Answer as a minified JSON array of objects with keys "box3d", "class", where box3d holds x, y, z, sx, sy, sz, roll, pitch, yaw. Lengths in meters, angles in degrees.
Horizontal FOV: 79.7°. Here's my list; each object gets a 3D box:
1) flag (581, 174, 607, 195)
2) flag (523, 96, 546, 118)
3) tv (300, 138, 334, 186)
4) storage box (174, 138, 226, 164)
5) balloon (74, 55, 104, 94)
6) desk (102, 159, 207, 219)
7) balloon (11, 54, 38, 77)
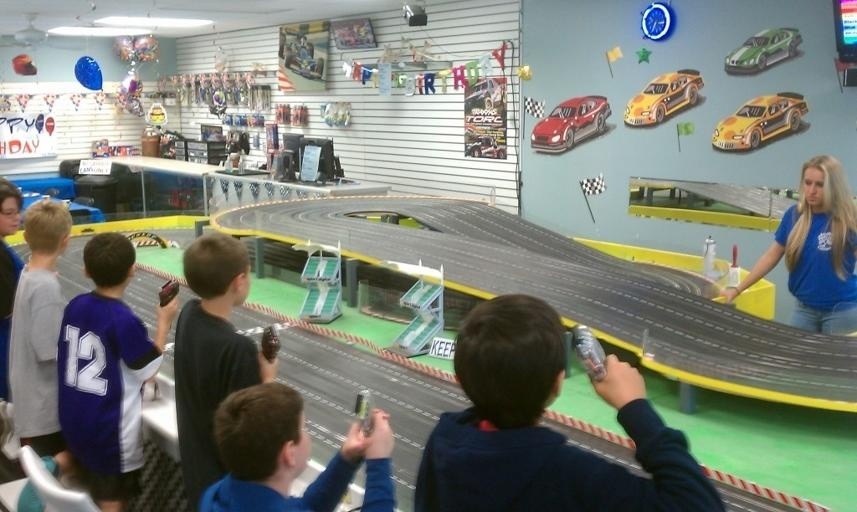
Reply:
[{"box3d":[2.675,-1.163,8.292,0.030,0.263,0.362,-11,13,-42],"class":"flag"},{"box3d":[1.809,-2.560,8.759,0.034,0.330,0.388,-9,19,-42],"class":"flag"},{"box3d":[-2.083,-1.730,9.599,0.842,0.807,0.321,7,21,15],"class":"tv"},{"box3d":[-6.275,-2.858,13.960,1.655,0.600,0.572,9,10,27],"class":"storage box"},{"box3d":[-7.476,-4.056,11.291,0.397,0.651,0.548,1,10,-21],"class":"balloon"},{"box3d":[-6.659,-1.552,12.263,4.050,1.358,0.564,12,11,39],"class":"desk"},{"box3d":[-10.557,-5.038,13.436,0.548,0.484,0.284,7,9,18],"class":"balloon"}]
